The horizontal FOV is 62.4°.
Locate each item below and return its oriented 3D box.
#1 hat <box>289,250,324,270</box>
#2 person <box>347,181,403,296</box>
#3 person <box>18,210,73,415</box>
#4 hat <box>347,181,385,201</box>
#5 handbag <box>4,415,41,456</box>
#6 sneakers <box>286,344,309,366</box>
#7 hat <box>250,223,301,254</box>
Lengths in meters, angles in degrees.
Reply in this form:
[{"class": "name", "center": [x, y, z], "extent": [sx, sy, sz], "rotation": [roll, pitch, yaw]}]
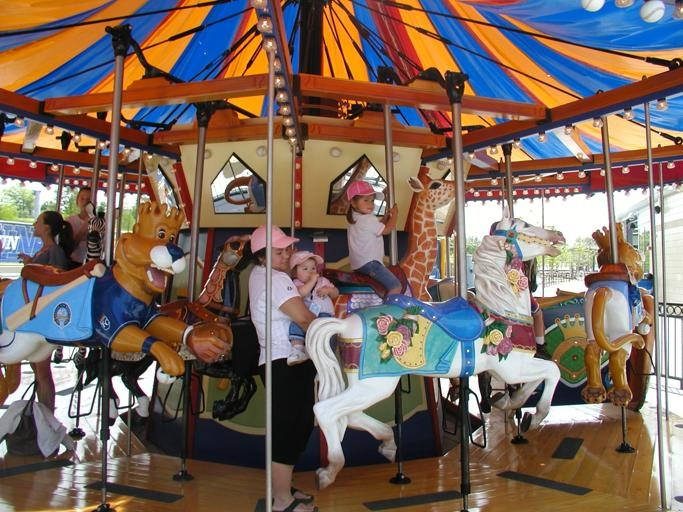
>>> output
[{"class": "hat", "center": [-0.342, 0.052, 4.838], "extent": [0.160, 0.088, 0.233], "rotation": [-1, -6, -38]}, {"class": "person", "center": [0.317, -0.195, 5.487], "extent": [0.565, 1.090, 0.379], "rotation": [1, 0, 9]}, {"class": "person", "center": [-3.114, 0.613, 5.912], "extent": [0.497, 2.267, 0.837], "rotation": [1, 0, -26]}, {"class": "hat", "center": [0.246, -0.641, 5.570], "extent": [0.341, 0.202, 0.251], "rotation": [2, 13, 15]}, {"class": "handbag", "center": [-3.176, 1.815, 5.633], "extent": [0.376, 0.398, 0.281], "rotation": [5, -13, -10]}, {"class": "sneakers", "center": [-0.351, 0.787, 4.470], "extent": [0.109, 0.131, 0.187], "rotation": [-9, -13, 42]}, {"class": "hat", "center": [-0.580, -0.133, 4.558], "extent": [0.319, 0.155, 0.214], "rotation": [-1, 9, 22]}]
